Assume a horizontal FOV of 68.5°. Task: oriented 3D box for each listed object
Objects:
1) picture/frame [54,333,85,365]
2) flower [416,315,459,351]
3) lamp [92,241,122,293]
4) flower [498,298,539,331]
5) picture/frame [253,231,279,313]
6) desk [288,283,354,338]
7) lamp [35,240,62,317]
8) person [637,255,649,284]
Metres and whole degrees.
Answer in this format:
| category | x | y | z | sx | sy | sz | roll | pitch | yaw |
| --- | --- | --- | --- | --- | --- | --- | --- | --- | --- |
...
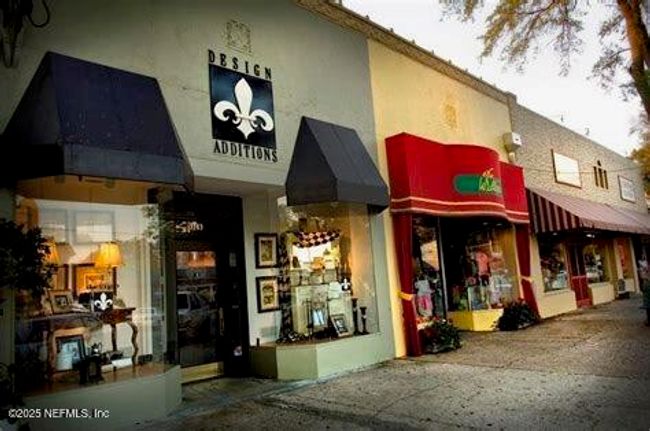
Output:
| category | x | y | z | sx | sy | sz | roll | pitch | yaw |
| --- | --- | --- | --- | --- | --- | --- | --- | --- | --- |
| picture/frame | -4.534 | 2.365 | 8.389 | 0.060 | 0.596 | 0.517 | -22 | -19 | 40 |
| flower | 2.898 | 3.043 | 12.401 | 0.755 | 0.662 | 0.896 | -13 | -15 | 43 |
| lamp | -4.033 | 0.952 | 8.911 | 0.514 | 0.855 | 0.478 | -1 | -6 | -36 |
| flower | 6.011 | 3.074 | 14.904 | 0.765 | 0.527 | 1.141 | 1 | 0 | 44 |
| picture/frame | -1.364 | 1.349 | 11.286 | 0.633 | 1.873 | 0.348 | -3 | -2 | 12 |
| desk | -0.165 | 2.185 | 10.905 | 1.304 | 1.138 | 0.471 | 0 | -2 | -28 |
| lamp | -4.833 | 1.065 | 8.336 | 0.186 | 1.299 | 0.257 | -4 | -2 | 21 |
| person | 16.304 | 2.767 | 24.412 | 0.442 | 1.240 | 2.848 | -4 | -2 | 33 |
